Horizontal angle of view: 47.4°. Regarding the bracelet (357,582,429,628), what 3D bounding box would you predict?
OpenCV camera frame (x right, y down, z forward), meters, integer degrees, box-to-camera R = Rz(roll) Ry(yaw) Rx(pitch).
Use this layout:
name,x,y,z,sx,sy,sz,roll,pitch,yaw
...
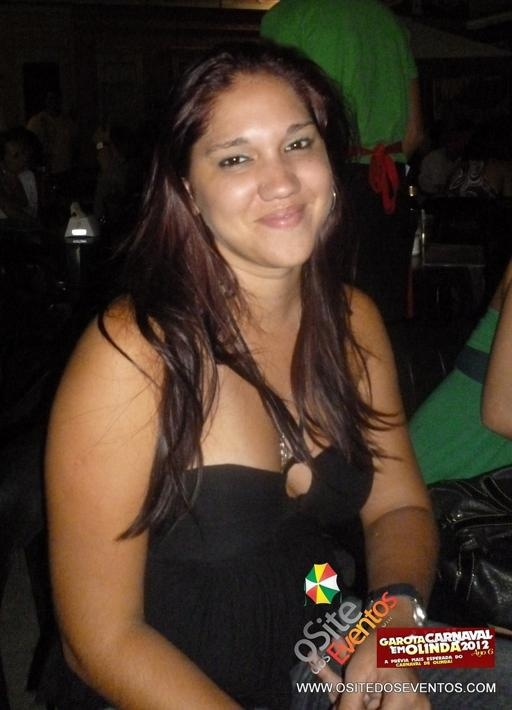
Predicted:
name,x,y,z,sx,sy,sz,roll,pitch,yaw
bracelet,0.271,0.466,1.097,0.084,0.082,0.025,-19,-17,-37
